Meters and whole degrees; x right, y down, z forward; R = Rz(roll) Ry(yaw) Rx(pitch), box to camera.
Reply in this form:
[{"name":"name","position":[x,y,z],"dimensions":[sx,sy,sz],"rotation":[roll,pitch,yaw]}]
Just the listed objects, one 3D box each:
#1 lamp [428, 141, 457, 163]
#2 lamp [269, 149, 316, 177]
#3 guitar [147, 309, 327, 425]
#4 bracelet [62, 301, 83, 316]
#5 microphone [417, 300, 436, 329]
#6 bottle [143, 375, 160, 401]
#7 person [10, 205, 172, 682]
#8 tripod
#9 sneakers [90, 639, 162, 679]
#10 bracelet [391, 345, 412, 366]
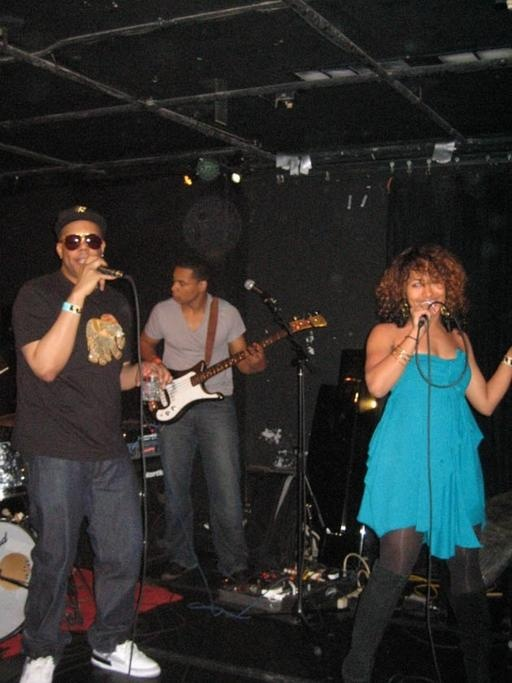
[{"name":"lamp","position":[1.179,-1.195,4.051],"dimensions":[0.188,0.166,0.049],"rotation":[3,3,18]},{"name":"lamp","position":[0.254,-1.224,4.440],"dimensions":[0.236,0.142,0.099],"rotation":[0,1,4]},{"name":"guitar","position":[-0.092,0.160,3.939],"dimensions":[1.035,0.651,0.389],"rotation":[0,1,-1]},{"name":"bracelet","position":[-0.659,-0.119,2.308],"dimensions":[0.055,0.032,0.053],"rotation":[24,-3,7]},{"name":"microphone","position":[0.596,-0.096,2.262],"dimensions":[0.043,0.132,0.025],"rotation":[22,-22,19]},{"name":"bottle","position":[-0.455,0.214,2.926],"dimensions":[0.091,0.103,0.114],"rotation":[1,-11,-4]},{"name":"person","position":[-0.668,0.409,2.563],"dimensions":[0.567,1.919,0.451],"rotation":[0,1,-34]},{"name":"tripod","position":[0.292,1.067,4.006],"dimensions":[0.856,1.234,1.428],"rotation":[3,-16,4]},{"name":"sneakers","position":[-0.515,1.300,2.617],"dimensions":[0.306,0.124,0.122],"rotation":[4,-30,12]},{"name":"bracelet","position":[0.508,0.042,2.241],"dimensions":[0.064,0.072,0.039],"rotation":[7,-20,1]}]
